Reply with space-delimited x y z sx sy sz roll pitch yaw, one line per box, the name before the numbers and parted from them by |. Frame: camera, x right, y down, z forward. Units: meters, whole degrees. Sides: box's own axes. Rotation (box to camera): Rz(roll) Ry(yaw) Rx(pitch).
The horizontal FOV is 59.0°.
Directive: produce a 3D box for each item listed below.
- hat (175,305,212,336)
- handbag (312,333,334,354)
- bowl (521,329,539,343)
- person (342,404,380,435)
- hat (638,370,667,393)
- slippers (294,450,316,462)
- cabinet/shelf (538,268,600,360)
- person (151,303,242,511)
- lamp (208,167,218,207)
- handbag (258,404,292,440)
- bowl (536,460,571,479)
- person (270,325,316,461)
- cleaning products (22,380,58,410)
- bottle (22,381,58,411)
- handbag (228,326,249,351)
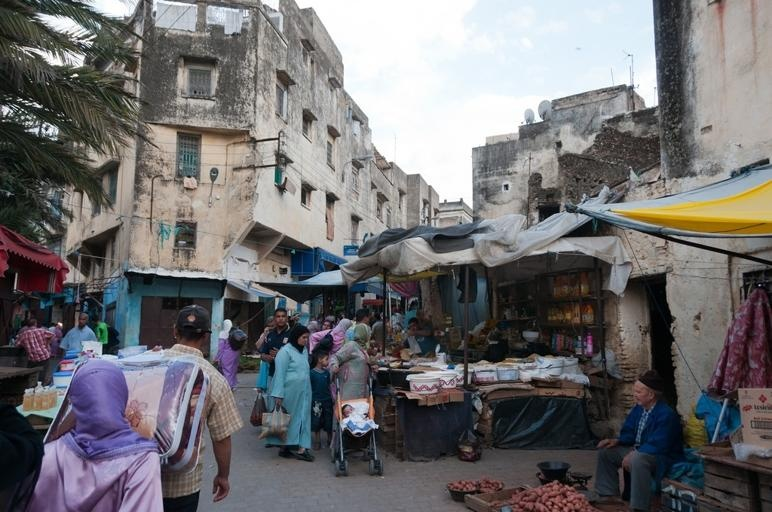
hat | -2.155 0.726 7.720 0.260 0.240 0.397 4 5 -6
handbag | -1.138 1.590 12.278 0.191 0.354 0.291 38 -33 1
bowl | 2.987 1.692 14.232 0.191 0.264 0.410 8 -12 -39
person | -0.454 2.517 10.579 0.516 0.242 0.700 -6 21 -7
hat | 3.699 1.751 9.532 0.363 0.264 0.265 32 3 14
slippers | -1.317 3.237 10.967 0.349 0.157 0.136 1 -6 10
cabinet/shelf | 3.599 1.162 13.319 0.445 1.659 1.398 6 -12 -22
person | -2.078 1.715 7.662 0.830 2.329 1.190 3 -9 -19
lamp | -5.679 -2.261 22.369 0.310 1.324 0.142 4 -9 -22
handbag | -1.742 2.635 10.740 0.561 0.711 0.249 9 -14 -4
bowl | 2.357 3.037 9.629 0.267 0.113 0.279 0 -2 0
person | -1.513 2.198 10.915 0.732 2.166 0.560 1 -8 -8
cleaning products | -4.184 1.700 8.222 0.246 0.227 0.341 -4 -6 30
bottle | -4.162 1.706 8.216 0.246 0.229 0.352 -2 -5 21
handbag | -2.715 1.557 12.728 0.343 0.494 0.430 4 -3 -45
